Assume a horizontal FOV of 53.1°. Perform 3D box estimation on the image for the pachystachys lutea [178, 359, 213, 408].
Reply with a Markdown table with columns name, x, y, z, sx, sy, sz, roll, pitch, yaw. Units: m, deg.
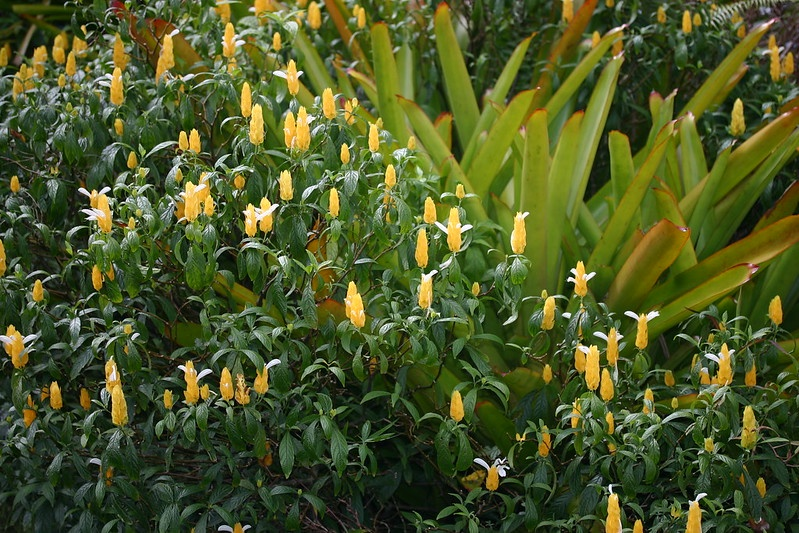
| name | x | y | z | sx | sy | sz | roll | pitch | yaw |
| --- | --- | --- | --- | --- | --- | --- | --- | --- | --- |
| pachystachys lutea | -0.615 | 0.343 | 2.384 | 0.073 | 0.128 | 0.083 | 7 | 19 | 27 |

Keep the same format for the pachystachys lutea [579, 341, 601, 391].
| name | x | y | z | sx | sy | sz | roll | pitch | yaw |
| --- | --- | --- | --- | --- | --- | --- | --- | --- | --- |
| pachystachys lutea | 0.570 | 0.289 | 2.383 | 0.067 | 0.159 | 0.082 | -5 | 17 | 10 |

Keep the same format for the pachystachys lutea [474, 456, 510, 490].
| name | x | y | z | sx | sy | sz | roll | pitch | yaw |
| --- | --- | --- | --- | --- | --- | --- | --- | --- | --- |
| pachystachys lutea | 0.291 | 0.632 | 2.501 | 0.099 | 0.121 | 0.120 | 2 | -24 | 19 |

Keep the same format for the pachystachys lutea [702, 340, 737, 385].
| name | x | y | z | sx | sy | sz | roll | pitch | yaw |
| --- | --- | --- | --- | --- | --- | --- | --- | --- | --- |
| pachystachys lutea | 0.969 | 0.292 | 2.408 | 0.067 | 0.121 | 0.069 | 3 | 3 | 41 |
